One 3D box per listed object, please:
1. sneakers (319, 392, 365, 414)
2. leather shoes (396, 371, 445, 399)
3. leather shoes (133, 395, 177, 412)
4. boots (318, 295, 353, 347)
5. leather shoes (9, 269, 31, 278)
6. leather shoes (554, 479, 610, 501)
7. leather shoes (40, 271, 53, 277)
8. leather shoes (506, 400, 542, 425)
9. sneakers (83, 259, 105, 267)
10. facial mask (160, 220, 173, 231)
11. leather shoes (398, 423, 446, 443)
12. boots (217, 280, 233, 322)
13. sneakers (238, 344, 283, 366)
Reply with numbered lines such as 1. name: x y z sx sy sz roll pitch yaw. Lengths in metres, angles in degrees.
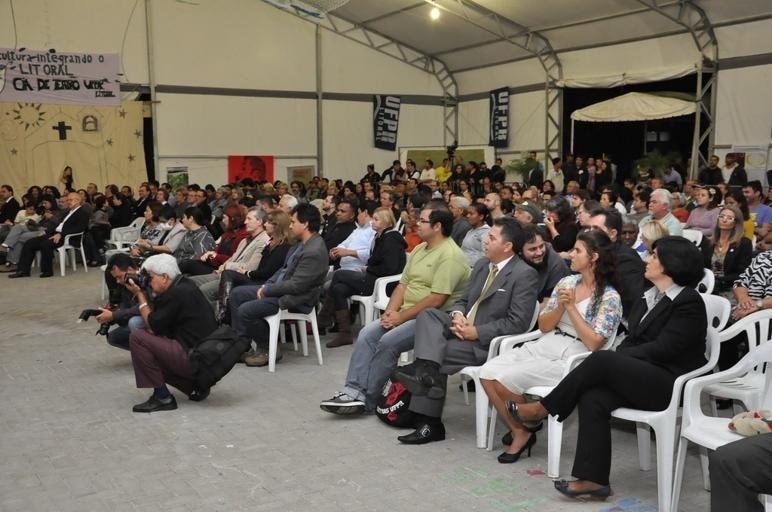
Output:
1. sneakers: -0.346 1.274 5.022 0.421 0.182 0.152 9 -41 -12
2. leather shoes: 0.281 1.038 4.566 0.366 0.270 0.264 2 12 12
3. leather shoes: -2.075 1.336 5.240 0.326 0.127 0.155 1 -7 -6
4. boots: -0.612 0.803 7.160 0.361 0.443 0.661 0 4 -28
5. leather shoes: -7.163 0.341 11.284 0.447 0.172 0.156 4 -2 -16
6. leather shoes: 1.322 1.578 3.984 0.394 0.136 0.140 6 4 5
7. leather shoes: -6.570 0.365 11.259 0.258 0.094 0.090 6 -2 -41
8. leather shoes: 1.027 1.172 4.315 0.152 0.125 0.381 -15 -17 -3
9. sneakers: -6.093 0.142 12.145 0.403 0.143 0.137 4 3 -18
10. facial mask: -3.308 -0.449 8.773 0.164 0.092 0.124 8 10 43
11. leather shoes: 0.314 1.450 4.768 0.449 0.177 0.143 0 1 -14
12. boots: -1.855 0.531 6.693 0.160 0.419 0.308 11 -9 -27
13. sneakers: -1.384 1.082 6.422 0.240 0.166 0.420 -1 -4 41
